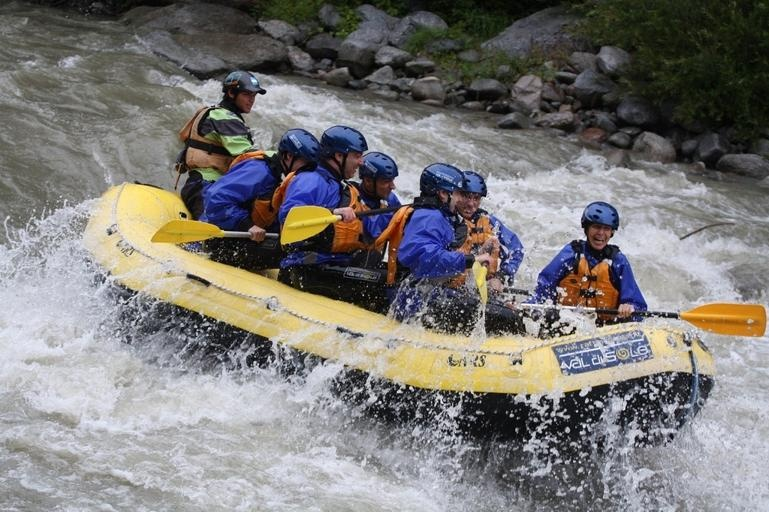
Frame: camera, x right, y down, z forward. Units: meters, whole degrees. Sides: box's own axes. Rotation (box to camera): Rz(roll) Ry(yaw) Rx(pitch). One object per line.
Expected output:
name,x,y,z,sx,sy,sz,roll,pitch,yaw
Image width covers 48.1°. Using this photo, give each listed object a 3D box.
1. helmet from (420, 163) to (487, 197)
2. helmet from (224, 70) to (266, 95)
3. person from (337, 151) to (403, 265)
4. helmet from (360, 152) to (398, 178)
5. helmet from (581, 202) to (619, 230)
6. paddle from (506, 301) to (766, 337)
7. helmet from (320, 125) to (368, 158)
helmet,0.746,-0.842,9.658,0.546,0.245,0.406,12,3,3
helmet,-1.736,-2.170,10.839,0.471,0.249,0.335,-2,10,1
person,-0.156,-0.600,9.906,0.824,1.162,0.421,-2,17,-44
helmet,-0.056,-1.027,9.699,0.367,0.240,0.249,-1,19,0
helmet,2.458,-0.454,9.822,0.285,0.392,0.338,5,2,5
paddle,2.650,0.690,9.329,2.816,0.381,0.234,3,-9,4
helmet,-0.450,-1.298,9.797,0.443,0.340,0.329,11,9,6
